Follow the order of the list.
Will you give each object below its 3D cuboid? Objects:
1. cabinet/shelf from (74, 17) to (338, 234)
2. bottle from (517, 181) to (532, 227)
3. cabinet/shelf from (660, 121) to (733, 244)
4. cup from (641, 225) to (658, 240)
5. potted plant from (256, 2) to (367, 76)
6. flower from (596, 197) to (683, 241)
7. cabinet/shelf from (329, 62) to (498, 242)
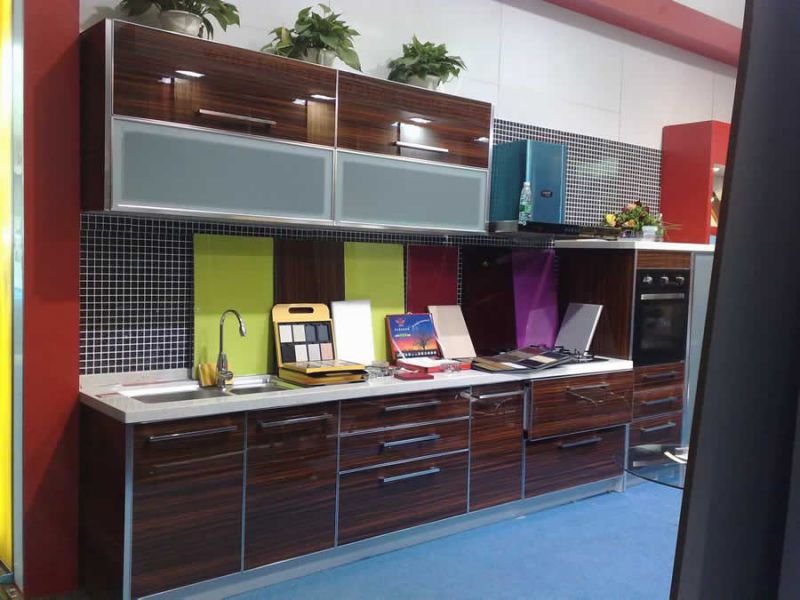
[{"bbox_3d":[-0.917,-0.792,2.895,1.239,0.705,0.329,0,3,-40],"label":"cabinet/shelf"},{"bbox_3d":[0.824,-0.648,4.081,0.097,0.260,0.084,2,2,0],"label":"bottle"},{"bbox_3d":[2.519,-1.023,5.454,0.532,1.074,0.363,3,3,27],"label":"cabinet/shelf"},{"bbox_3d":[1.929,-0.536,4.861,0.151,0.138,0.110,2,10,10],"label":"cup"},{"bbox_3d":[-0.477,-1.357,3.356,0.489,0.270,0.490,6,7,30],"label":"potted plant"},{"bbox_3d":[1.851,-0.620,5.035,0.480,0.262,0.500,2,12,-1],"label":"flower"},{"bbox_3d":[0.048,-0.833,3.596,1.296,0.865,0.434,-1,0,-35],"label":"cabinet/shelf"}]
